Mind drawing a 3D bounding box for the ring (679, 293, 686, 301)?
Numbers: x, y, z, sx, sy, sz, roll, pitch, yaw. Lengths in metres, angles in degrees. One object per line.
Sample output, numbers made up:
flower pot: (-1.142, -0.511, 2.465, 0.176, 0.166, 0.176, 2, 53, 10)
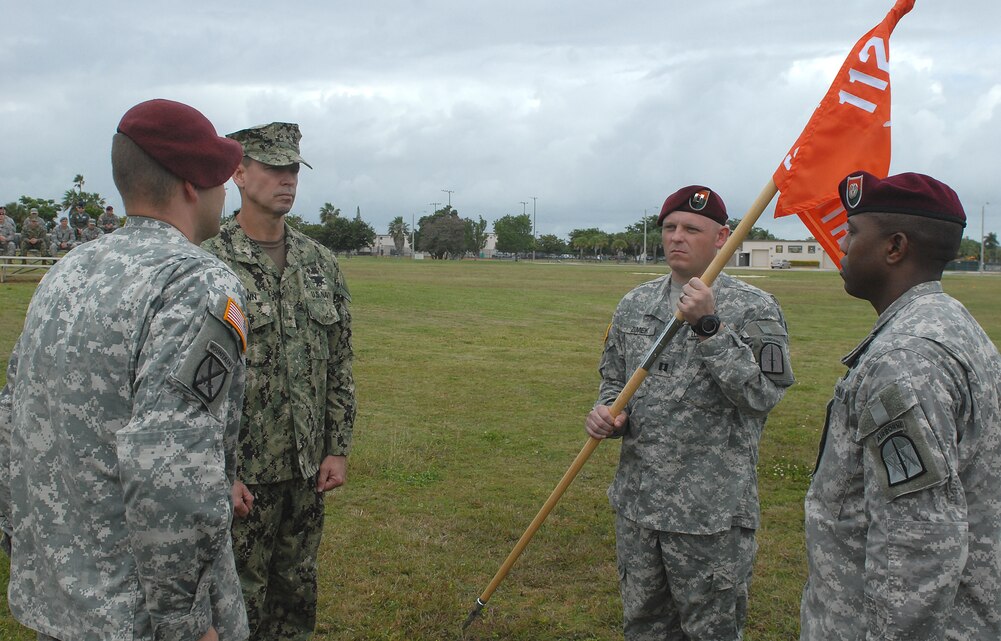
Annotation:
ring: (1.097, -0.140, 4.998, 0.045, 0.064, 0.022, -4, -9, 6)
